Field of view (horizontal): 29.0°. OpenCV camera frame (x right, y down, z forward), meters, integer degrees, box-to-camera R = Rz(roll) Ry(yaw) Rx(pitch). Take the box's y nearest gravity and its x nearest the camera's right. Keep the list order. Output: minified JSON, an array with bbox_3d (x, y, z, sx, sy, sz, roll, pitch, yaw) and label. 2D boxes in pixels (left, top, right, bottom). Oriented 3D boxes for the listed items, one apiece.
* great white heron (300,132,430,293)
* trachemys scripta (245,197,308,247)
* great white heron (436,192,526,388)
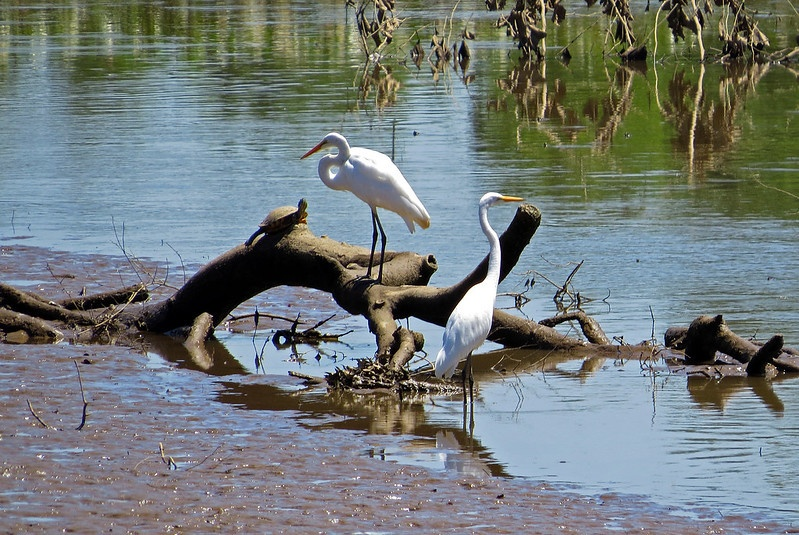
[{"bbox_3d":[-0.504,-1.031,25.145,2.676,2.106,0.708,12,17,26],"label":"great white heron"},{"bbox_3d":[-1.926,-0.726,23.951,0.908,0.768,0.270,2,10,3],"label":"trachemys scripta"},{"bbox_3d":[1.093,0.321,22.206,0.909,2.744,1.566,3,10,9],"label":"great white heron"}]
